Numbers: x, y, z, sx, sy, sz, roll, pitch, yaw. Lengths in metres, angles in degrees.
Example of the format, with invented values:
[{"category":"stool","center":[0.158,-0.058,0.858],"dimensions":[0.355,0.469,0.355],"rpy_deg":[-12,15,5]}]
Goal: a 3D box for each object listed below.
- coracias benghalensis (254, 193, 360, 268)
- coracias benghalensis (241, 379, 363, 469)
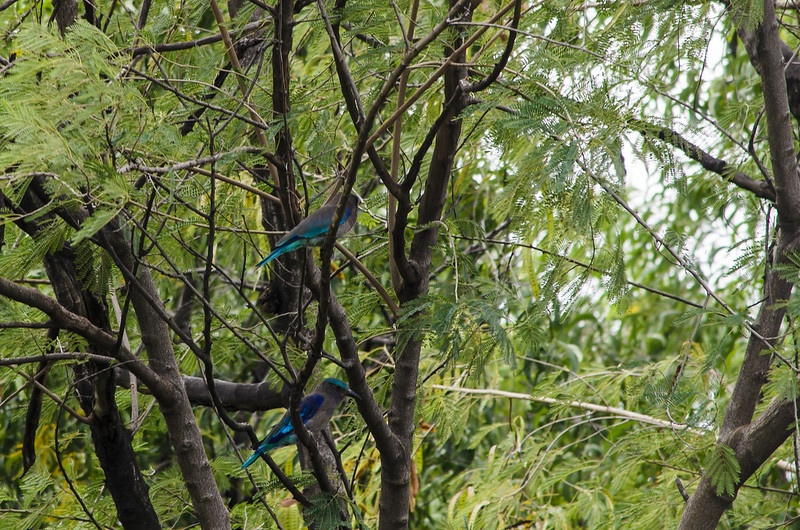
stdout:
[{"category":"coracias benghalensis","center":[-0.661,-0.266,10.228],"dimensions":[0.844,0.499,0.302],"rpy_deg":[-8,-20,-15]},{"category":"coracias benghalensis","center":[-0.820,1.242,10.787],"dimensions":[0.863,0.705,0.353],"rpy_deg":[-6,-22,7]}]
